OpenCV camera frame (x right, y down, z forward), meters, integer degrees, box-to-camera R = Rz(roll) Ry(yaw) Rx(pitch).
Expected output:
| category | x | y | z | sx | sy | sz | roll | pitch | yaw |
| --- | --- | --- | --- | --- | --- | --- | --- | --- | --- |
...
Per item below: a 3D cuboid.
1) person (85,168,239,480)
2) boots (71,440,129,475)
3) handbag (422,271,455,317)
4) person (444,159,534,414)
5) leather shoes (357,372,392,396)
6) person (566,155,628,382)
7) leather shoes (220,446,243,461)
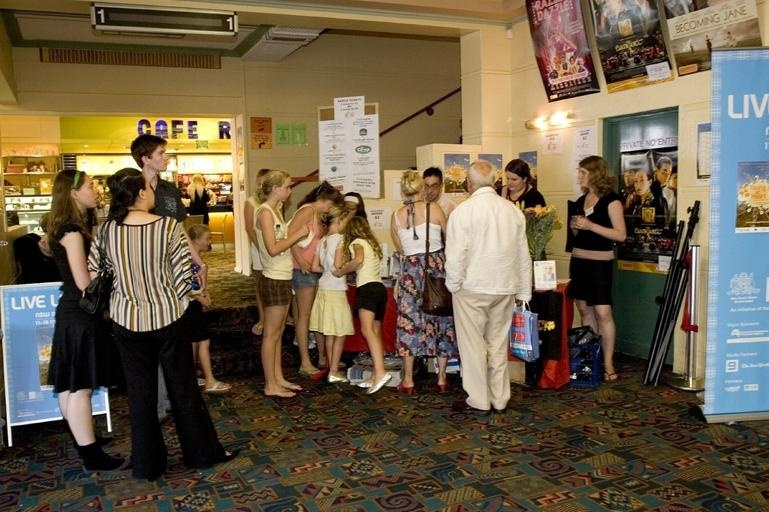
| category | x | y | z | sx | sy | sz | roll | pitch | yaw |
| --- | --- | --- | --- | --- | --- | --- | --- | --- | --- |
| person | -1.679 | 0.524 | 3.804 | 0.808 | 2.298 | 0.330 | -4 | 9 | -15 |
| boots | -2.185 | 1.564 | 4.051 | 0.438 | 0.262 | 0.172 | -2 | 8 | -15 |
| handbag | 0.528 | 0.363 | 4.945 | 0.514 | 0.426 | 0.236 | 1 | 4 | -29 |
| person | 0.974 | 0.292 | 4.818 | 0.709 | 2.318 | 0.421 | -9 | 11 | -38 |
| leather shoes | -0.108 | 1.355 | 5.384 | 0.343 | 0.136 | 0.177 | -25 | 18 | 43 |
| person | 2.289 | 0.126 | 5.586 | 0.623 | 2.407 | 0.366 | 4 | 10 | 34 |
| leather shoes | -1.250 | 1.591 | 4.162 | 0.066 | 0.123 | 0.195 | 9 | 14 | 27 |
